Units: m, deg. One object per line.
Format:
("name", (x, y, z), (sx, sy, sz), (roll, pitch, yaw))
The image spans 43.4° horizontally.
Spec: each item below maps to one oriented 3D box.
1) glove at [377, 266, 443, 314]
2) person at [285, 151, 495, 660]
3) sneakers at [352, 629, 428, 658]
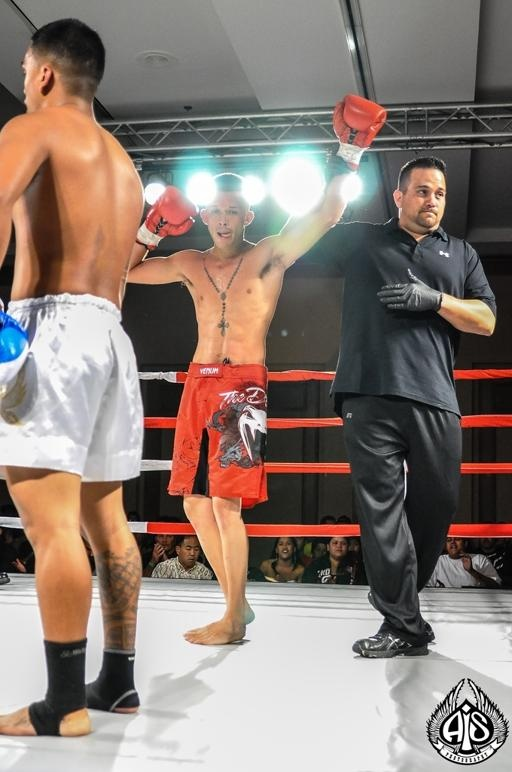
("glove", (0.476, -0.281, 1.989), (0.176, 0.109, 0.049), (14, -8, 12))
("person", (0.492, 0.005, 2.094), (0.623, 1.596, 0.347), (2, -9, -1))
("sneakers", (0.370, 0.758, 1.895), (0.235, 0.092, 0.072), (4, -24, -7))
